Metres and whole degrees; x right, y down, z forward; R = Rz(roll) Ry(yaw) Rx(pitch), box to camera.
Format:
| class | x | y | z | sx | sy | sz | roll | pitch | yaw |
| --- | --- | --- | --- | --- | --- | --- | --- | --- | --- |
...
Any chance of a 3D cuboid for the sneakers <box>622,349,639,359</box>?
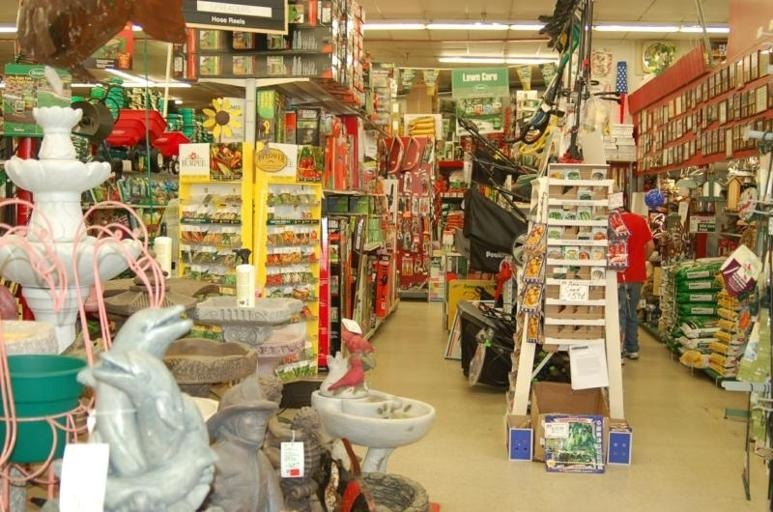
| class | x | y | z | sx | sy | sz | roll | pitch | yaw |
| --- | --- | --- | --- | --- | --- | --- | --- | --- | --- |
| sneakers | 2.744 | 1.110 | 7.639 | 0.222 | 0.116 | 0.086 | -2 | 6 | 14 |

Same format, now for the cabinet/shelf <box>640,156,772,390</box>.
| class | x | y | z | sx | sy | sz | roll | pitch | yaw |
| --- | --- | --- | --- | --- | --- | --- | --- | --- | --- |
| cabinet/shelf | 3.576 | 0.163 | 7.562 | 1.666 | 2.439 | 0.848 | 2 | -5 | 19 |

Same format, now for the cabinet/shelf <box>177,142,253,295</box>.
| class | x | y | z | sx | sy | sz | roll | pitch | yaw |
| --- | --- | --- | --- | --- | --- | --- | --- | --- | --- |
| cabinet/shelf | -1.340 | -0.252 | 5.078 | 0.461 | 1.160 | 0.127 | -5 | 21 | -29 |

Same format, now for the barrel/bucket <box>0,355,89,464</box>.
| class | x | y | z | sx | sy | sz | roll | pitch | yaw |
| --- | --- | --- | --- | --- | --- | --- | --- | --- | --- |
| barrel/bucket | -1.051 | 0.483 | 2.203 | 0.284 | 0.288 | 0.318 | 1 | -3 | -1 |

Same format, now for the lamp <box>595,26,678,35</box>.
| class | x | y | z | sx | sy | sz | roll | pitch | yaw |
| --- | --- | --- | --- | --- | --- | --- | --- | --- | --- |
| lamp | 4.333 | -4.088 | 12.037 | 0.940 | 0.168 | 0.079 | -2 | 20 | -2 |

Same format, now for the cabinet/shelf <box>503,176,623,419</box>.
| class | x | y | z | sx | sy | sz | roll | pitch | yaw |
| --- | --- | --- | --- | --- | --- | --- | --- | --- | --- |
| cabinet/shelf | 1.316 | 0.285 | 4.908 | 0.825 | 1.893 | 0.471 | 1 | 6 | 10 |

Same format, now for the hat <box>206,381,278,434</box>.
| class | x | y | z | sx | sy | sz | roll | pitch | yaw |
| --- | --- | --- | --- | --- | --- | --- | --- | --- | --- |
| hat | -0.555 | 0.563 | 2.583 | 0.237 | 0.105 | 0.175 | -27 | -18 | 35 |
